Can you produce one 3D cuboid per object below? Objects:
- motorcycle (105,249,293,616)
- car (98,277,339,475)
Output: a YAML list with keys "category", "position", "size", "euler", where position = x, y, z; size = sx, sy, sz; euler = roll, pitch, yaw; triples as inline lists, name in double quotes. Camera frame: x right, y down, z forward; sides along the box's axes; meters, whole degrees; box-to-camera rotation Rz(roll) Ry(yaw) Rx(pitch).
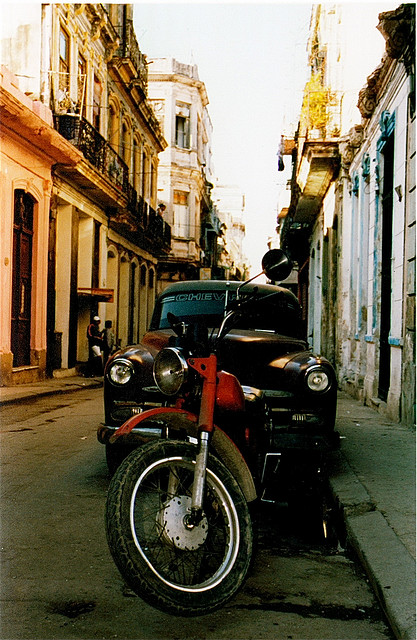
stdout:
- category: "motorcycle"
  position: [0.052, 0.740, 3.197]
  size: [0.693, 1.344, 1.758]
  euler: [-9, -13, 18]
- category: "car"
  position: [0.151, 0.613, 6.344]
  size: [1.774, 1.846, 3.361]
  euler: [1, -9, 8]
